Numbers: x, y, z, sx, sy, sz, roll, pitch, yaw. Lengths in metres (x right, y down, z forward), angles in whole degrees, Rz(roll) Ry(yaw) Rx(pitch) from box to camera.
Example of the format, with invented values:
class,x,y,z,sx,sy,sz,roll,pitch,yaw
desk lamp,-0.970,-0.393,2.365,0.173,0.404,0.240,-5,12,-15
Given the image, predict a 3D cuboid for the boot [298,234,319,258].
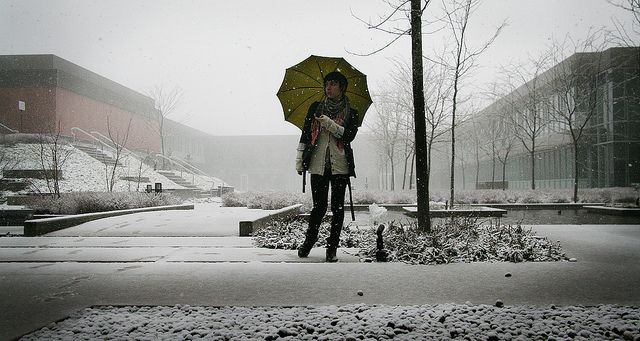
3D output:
class,x,y,z,sx,sy,sz,roll,pitch,yaw
boot,-0.584,3.228,19.754,0.726,1.020,0.463,1,-6,-7
